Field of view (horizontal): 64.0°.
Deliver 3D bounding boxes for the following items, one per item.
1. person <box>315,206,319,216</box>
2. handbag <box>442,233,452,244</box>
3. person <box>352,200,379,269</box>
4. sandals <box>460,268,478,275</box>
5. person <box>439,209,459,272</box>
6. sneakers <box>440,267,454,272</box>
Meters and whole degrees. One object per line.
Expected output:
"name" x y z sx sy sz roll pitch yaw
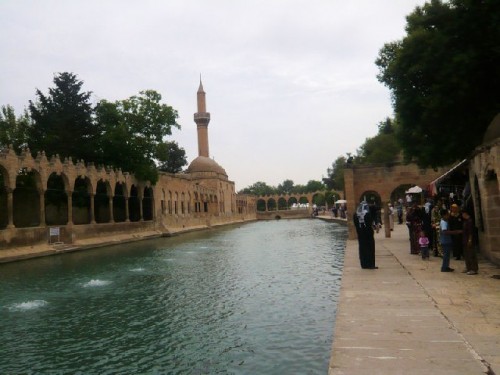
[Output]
"person" 13.429 4.970 80.263 0.324 1.494 0.629 -2 2 22
"handbag" 5.808 1.520 11.837 0.320 0.329 0.184 1 2 42
"person" 3.816 1.600 13.101 0.716 2.116 0.942 -3 2 16
"sandals" 6.309 2.426 11.458 0.367 0.161 0.115 5 -9 13
"person" 6.009 1.580 12.056 0.562 1.844 0.718 -2 -2 31
"sneakers" 5.886 2.467 11.957 0.373 0.156 0.129 -3 -7 14
